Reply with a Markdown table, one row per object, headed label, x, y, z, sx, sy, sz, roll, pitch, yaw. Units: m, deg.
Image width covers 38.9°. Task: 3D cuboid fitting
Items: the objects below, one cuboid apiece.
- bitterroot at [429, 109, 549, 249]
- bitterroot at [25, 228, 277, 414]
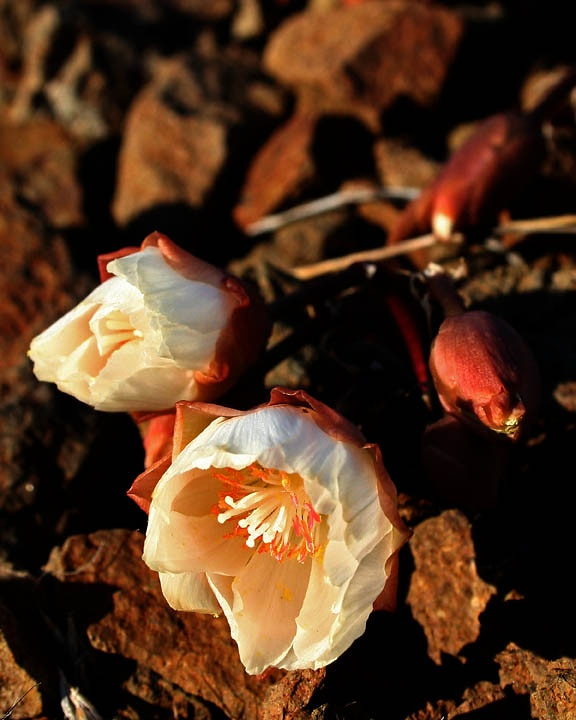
| label | x | y | z | sx | sy | sz | roll | pitch | yaw |
| --- | --- | --- | --- | --- | --- | --- | --- | --- | --- |
| bitterroot | 0.399 | -0.370 | 1.689 | 0.302 | 0.132 | 0.170 | -50 | 60 | 16 |
| bitterroot | -0.243 | -0.044 | 1.444 | 0.422 | 0.310 | 0.209 | -34 | 92 | -4 |
